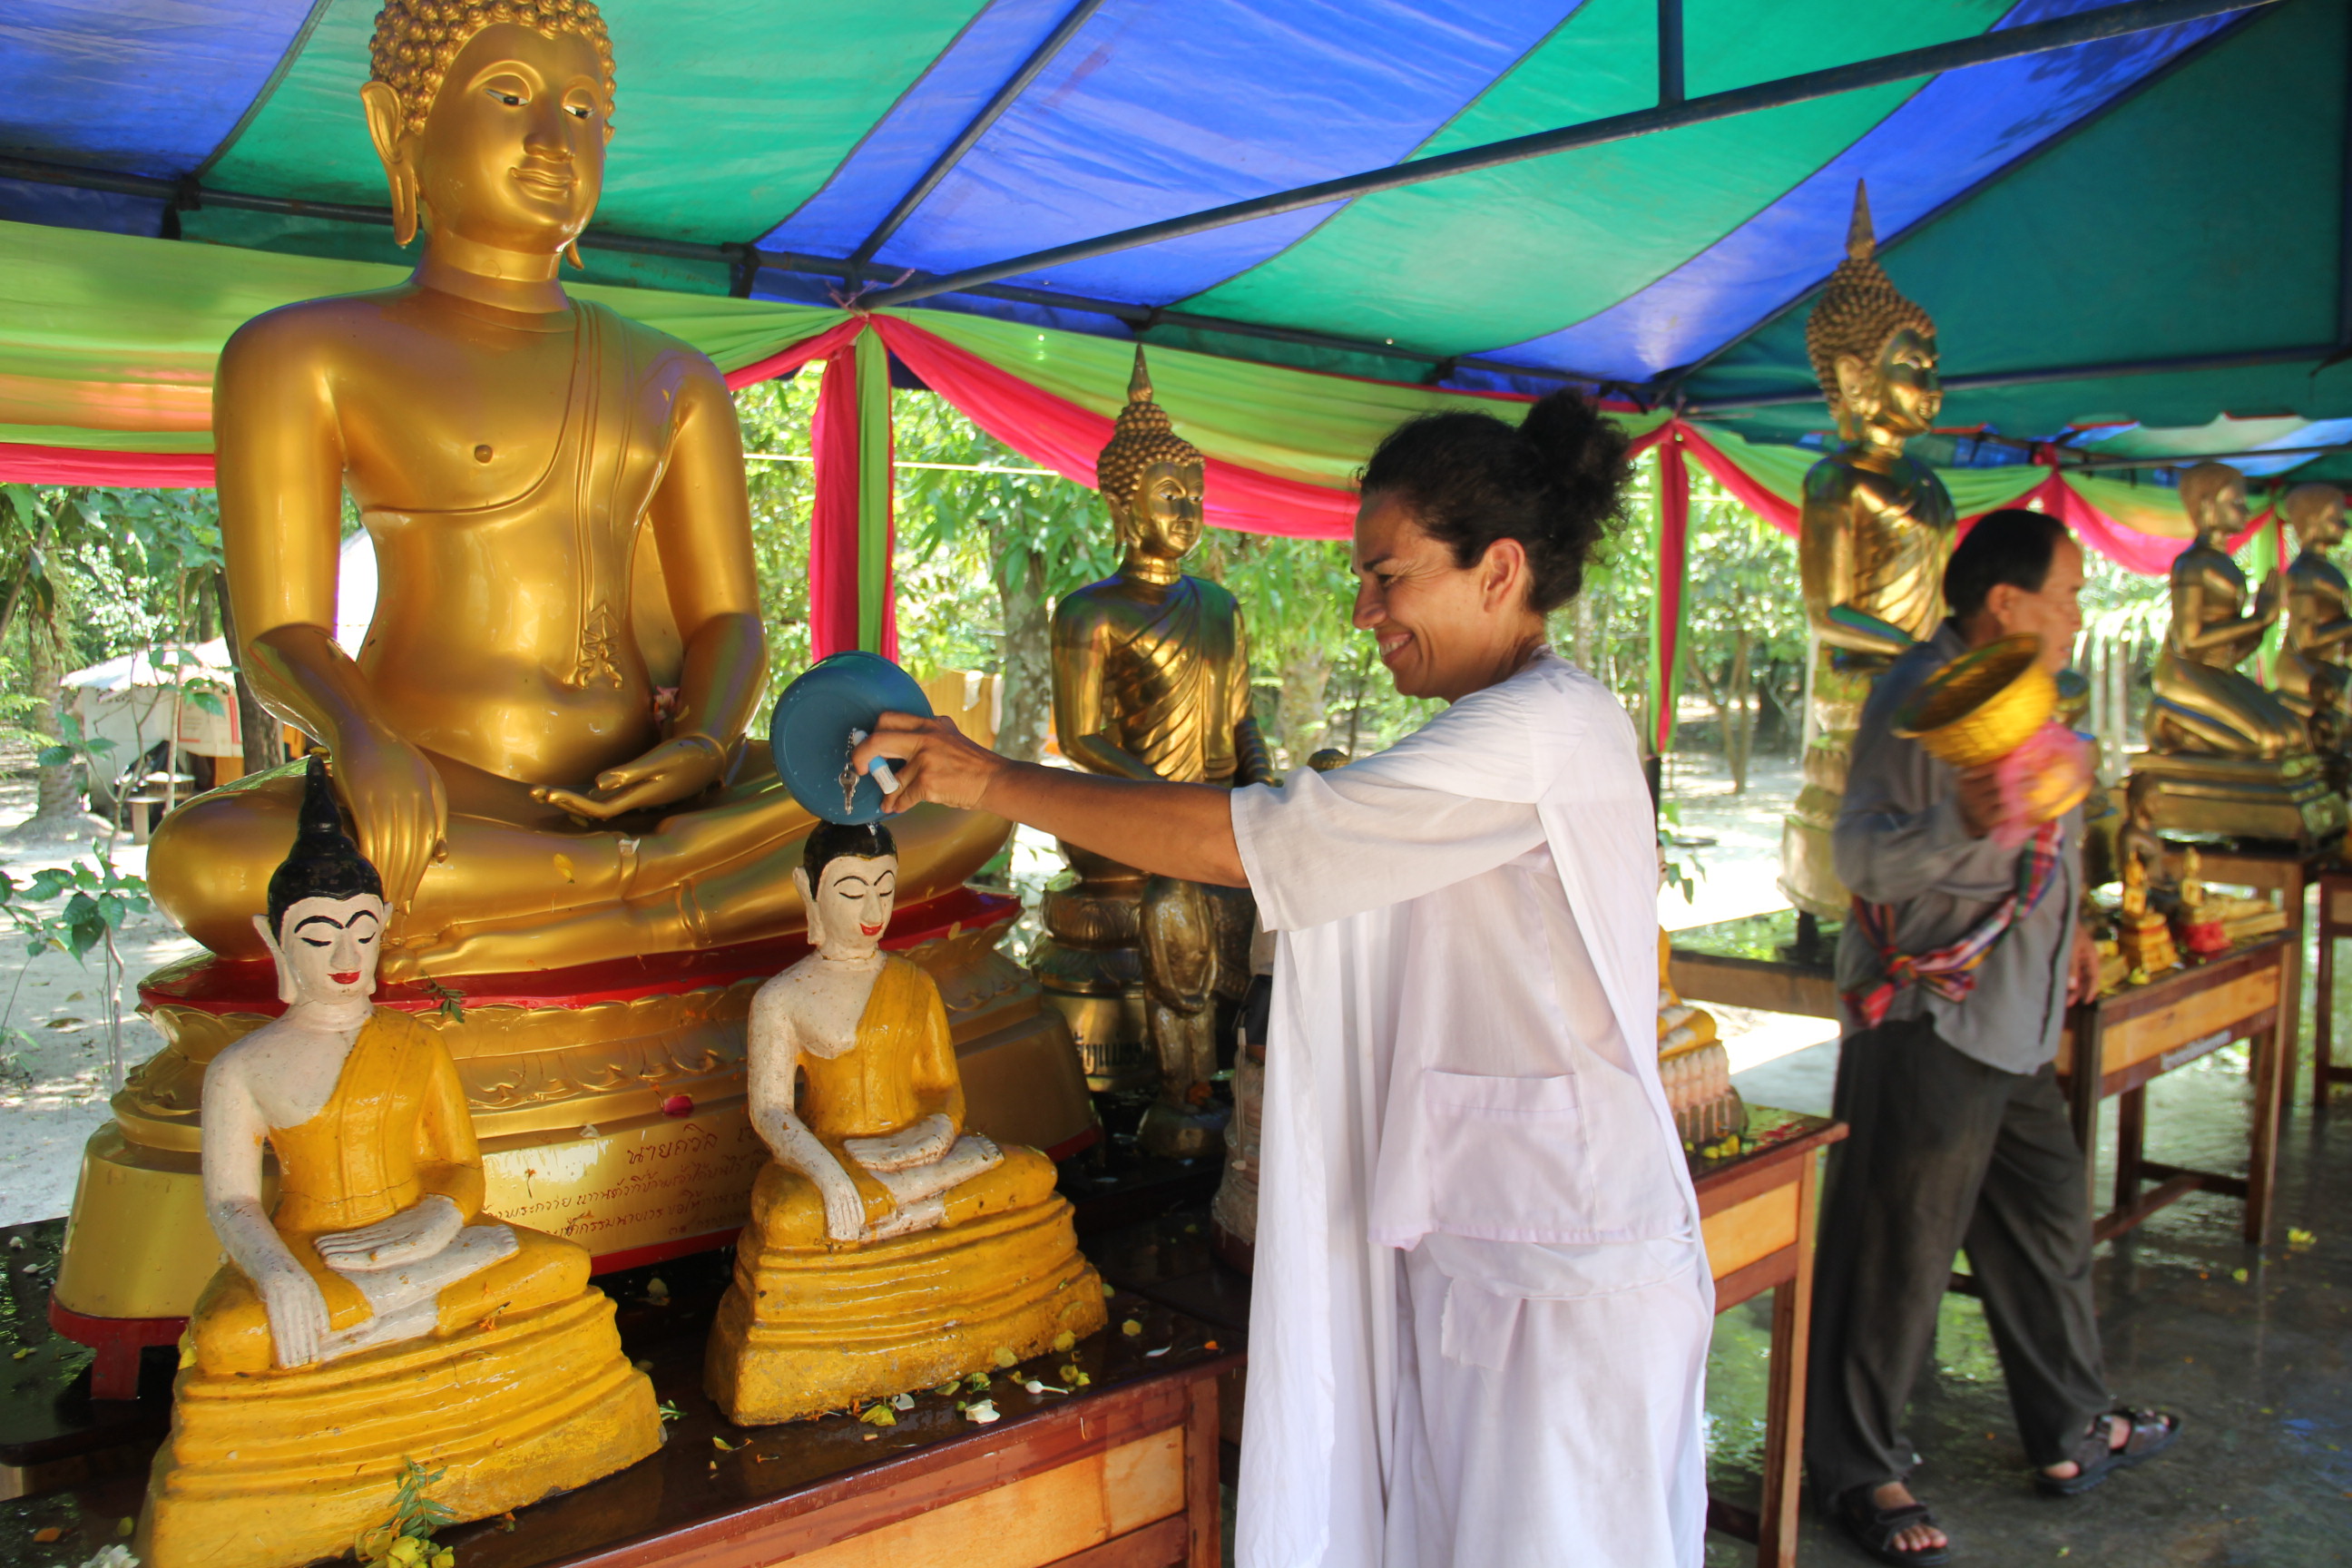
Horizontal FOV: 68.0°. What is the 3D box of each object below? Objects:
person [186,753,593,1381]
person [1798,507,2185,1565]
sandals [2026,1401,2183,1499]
[{"bbox_3d":[-1.217,0.395,2.594,0.463,0.847,0.302,-1,6,-4],"label":"person"},{"bbox_3d":[1.792,0.543,3.894,0.637,2.316,1.169,3,6,28],"label":"person"},{"bbox_3d":[2.249,1.560,4.225,0.467,0.131,0.162,-18,20,-24],"label":"sandals"}]
